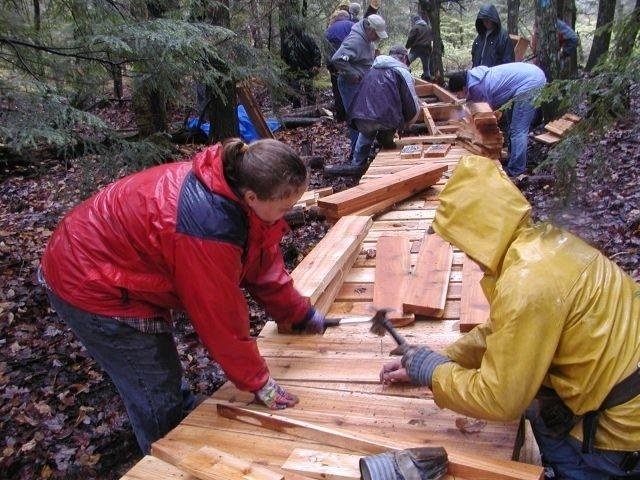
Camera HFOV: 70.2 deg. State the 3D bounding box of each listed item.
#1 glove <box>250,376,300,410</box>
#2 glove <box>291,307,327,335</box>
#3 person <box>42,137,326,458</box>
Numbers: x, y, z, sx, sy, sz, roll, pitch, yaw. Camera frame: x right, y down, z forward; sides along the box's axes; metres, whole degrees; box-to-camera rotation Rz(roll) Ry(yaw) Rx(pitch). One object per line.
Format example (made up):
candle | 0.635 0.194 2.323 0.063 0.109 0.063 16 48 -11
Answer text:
glove | -0.270 0.869 2.651 0.270 0.272 0.137 14 47 2
glove | -0.075 0.579 3.196 0.243 0.161 0.149 -2 37 -2
person | -0.790 0.376 2.616 1.500 1.794 0.466 -3 23 4
